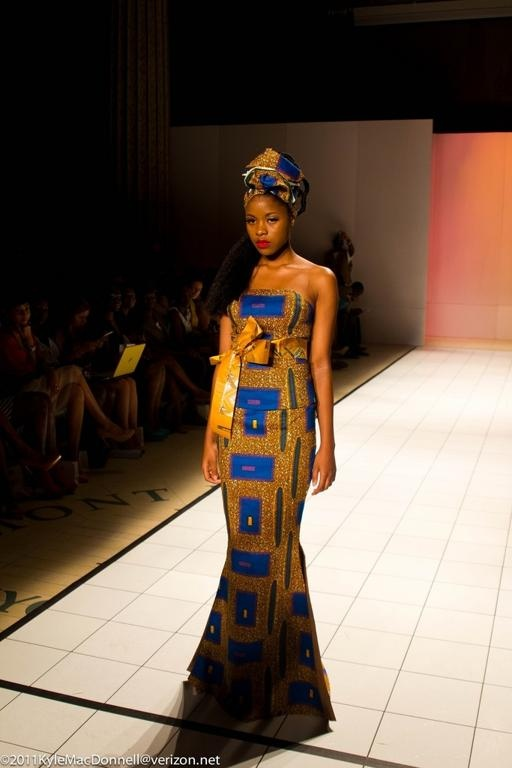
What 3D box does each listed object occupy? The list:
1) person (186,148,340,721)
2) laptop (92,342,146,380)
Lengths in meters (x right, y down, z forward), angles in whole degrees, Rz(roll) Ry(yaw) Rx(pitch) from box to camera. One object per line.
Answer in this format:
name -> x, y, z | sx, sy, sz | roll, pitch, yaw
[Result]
person -> 0.008, 0.151, 1.390 | 0.384, 1.407, 0.248 | 0, 6, 1
laptop -> -0.880, -0.159, 3.655 | 0.310, 0.233, 0.308 | 6, 8, 27
